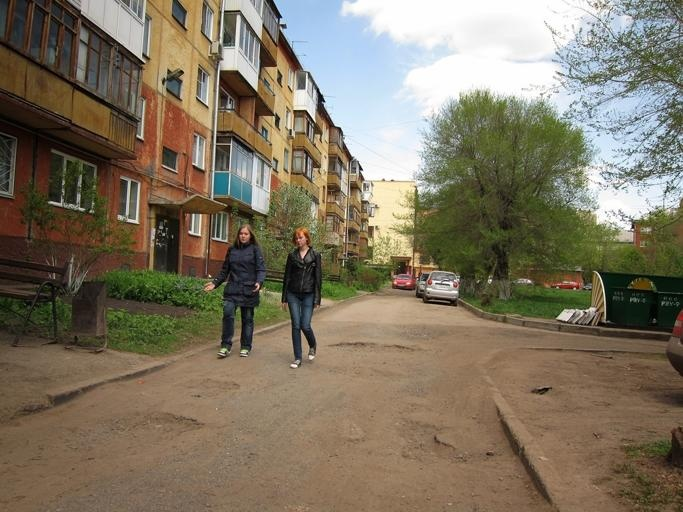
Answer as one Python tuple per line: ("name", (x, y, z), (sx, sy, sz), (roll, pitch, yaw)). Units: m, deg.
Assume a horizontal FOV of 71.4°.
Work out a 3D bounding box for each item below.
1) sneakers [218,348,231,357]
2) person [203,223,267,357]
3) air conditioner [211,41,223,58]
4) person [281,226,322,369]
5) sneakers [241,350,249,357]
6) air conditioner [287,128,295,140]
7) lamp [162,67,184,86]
("sneakers", (-2.101, 1.751, 8.556), (0.099, 0.123, 0.291), (-1, -12, 3))
("person", (-1.924, 0.611, 8.810), (0.937, 2.484, 0.700), (2, 0, -12))
("air conditioner", (-6.416, -10.608, 24.270), (0.438, 0.849, 0.901), (1, -1, 4))
("person", (-0.712, 0.686, 8.327), (0.651, 2.408, 0.864), (2, 0, -8))
("sneakers", (-1.762, 1.762, 8.663), (0.178, 0.136, 0.162), (3, -1, -24))
("air conditioner", (-4.214, -10.227, 39.803), (0.378, 0.916, 0.827), (2, -1, 8))
("lamp", (-7.366, -7.828, 20.869), (0.712, 0.850, 1.364), (2, -1, -10))
